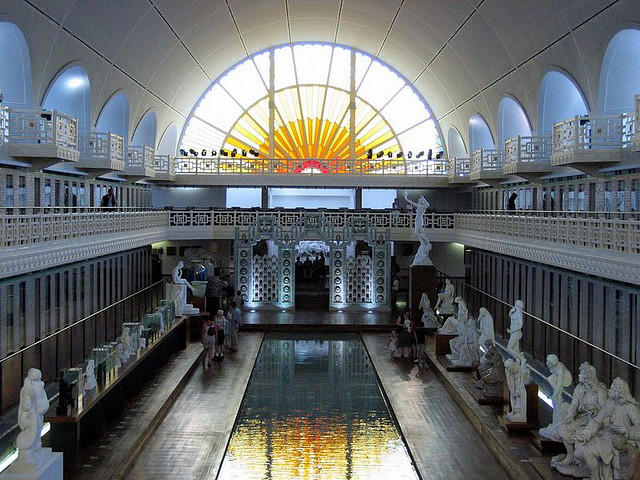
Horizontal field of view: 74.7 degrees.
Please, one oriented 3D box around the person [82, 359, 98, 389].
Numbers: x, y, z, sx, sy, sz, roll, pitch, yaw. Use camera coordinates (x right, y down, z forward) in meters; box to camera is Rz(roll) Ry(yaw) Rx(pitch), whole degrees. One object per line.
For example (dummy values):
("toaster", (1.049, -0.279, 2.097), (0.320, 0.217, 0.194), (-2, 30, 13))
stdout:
("person", (-6.287, 3.685, 11.348), (0.306, 0.795, 0.325), (1, -1, -32))
